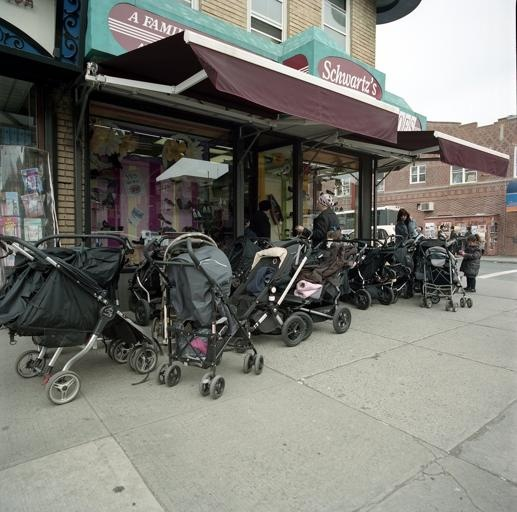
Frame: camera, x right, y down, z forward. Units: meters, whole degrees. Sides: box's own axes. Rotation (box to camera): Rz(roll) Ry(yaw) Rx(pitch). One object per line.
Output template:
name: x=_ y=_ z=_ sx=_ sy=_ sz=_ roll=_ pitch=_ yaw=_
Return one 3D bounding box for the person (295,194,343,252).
person: x=0.946 y=-0.445 z=6.970 sx=0.638 sy=1.108 sz=0.608 roll=4 pitch=21 yaw=22

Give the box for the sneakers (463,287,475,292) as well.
sneakers: x=4.413 y=0.708 z=9.235 sx=0.098 sy=0.106 sz=0.273 roll=5 pitch=1 yaw=0

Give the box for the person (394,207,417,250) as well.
person: x=2.970 y=-0.492 z=8.850 sx=0.489 sy=0.867 sz=0.298 roll=-20 pitch=29 yaw=-5
